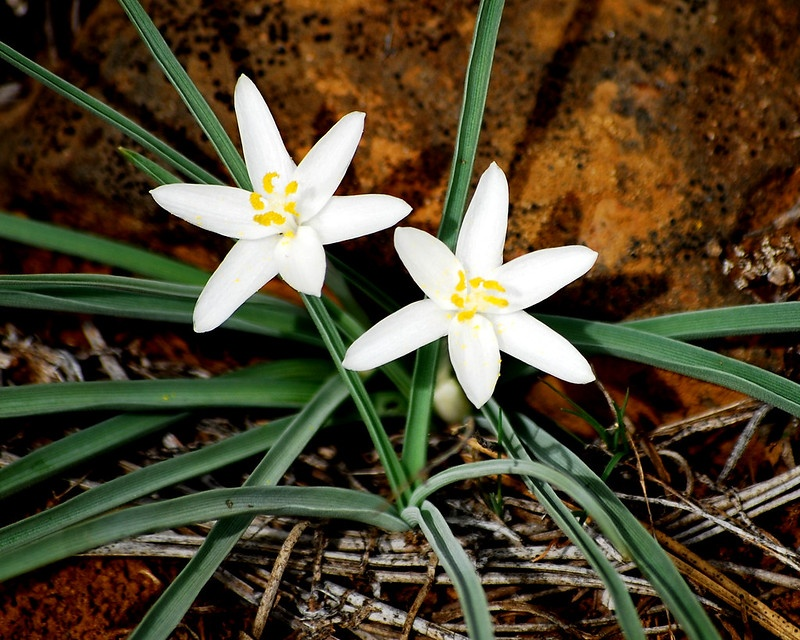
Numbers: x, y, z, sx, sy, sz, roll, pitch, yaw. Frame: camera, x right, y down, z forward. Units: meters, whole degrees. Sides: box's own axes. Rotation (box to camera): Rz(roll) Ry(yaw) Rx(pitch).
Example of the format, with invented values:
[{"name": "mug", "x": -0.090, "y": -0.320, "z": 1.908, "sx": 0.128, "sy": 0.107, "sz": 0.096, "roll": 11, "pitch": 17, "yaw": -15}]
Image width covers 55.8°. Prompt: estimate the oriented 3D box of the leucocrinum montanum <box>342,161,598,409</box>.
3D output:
[{"name": "leucocrinum montanum", "x": 0.088, "y": -0.162, "z": 1.692, "sx": 0.563, "sy": 0.171, "sz": 0.381, "roll": 14, "pitch": -22, "yaw": -16}]
